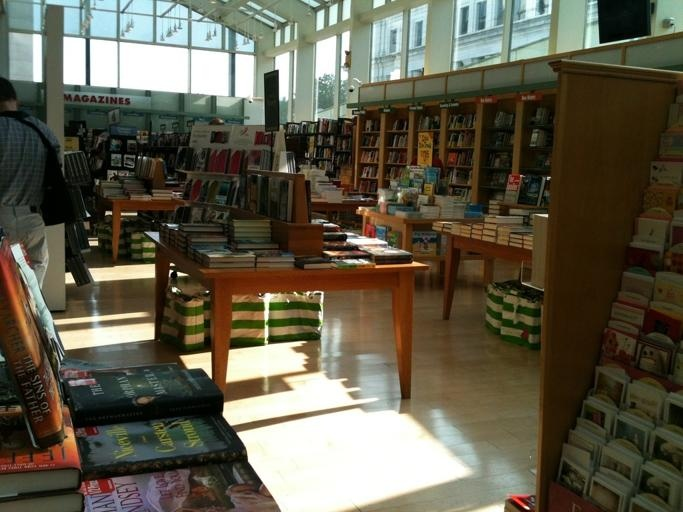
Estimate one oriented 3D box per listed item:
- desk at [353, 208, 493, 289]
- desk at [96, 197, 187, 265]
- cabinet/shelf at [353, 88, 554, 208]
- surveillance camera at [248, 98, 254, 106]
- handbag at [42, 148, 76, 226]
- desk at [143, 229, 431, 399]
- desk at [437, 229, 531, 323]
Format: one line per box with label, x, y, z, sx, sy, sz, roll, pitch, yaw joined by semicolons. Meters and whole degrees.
desk;1.216;-0.223;7.372;1.389;0.770;1.692;0;6;-25
desk;-3.367;-0.189;8.846;1.556;1.184;1.827;0;6;-25
cabinet/shelf;1.694;-2.741;13.054;0.675;2.076;4.607;9;4;-39
surveillance camera;-4.019;-6.781;22.557;0.089;0.240;0.312;12;14;34
handbag;-2.325;-0.543;4.165;0.143;0.478;0.540;-2;6;-16
desk;0.148;0.629;4.127;2.082;0.845;1.584;-5;-13;32
desk;1.724;0.130;5.593;1.310;0.793;0.958;1;5;-18
